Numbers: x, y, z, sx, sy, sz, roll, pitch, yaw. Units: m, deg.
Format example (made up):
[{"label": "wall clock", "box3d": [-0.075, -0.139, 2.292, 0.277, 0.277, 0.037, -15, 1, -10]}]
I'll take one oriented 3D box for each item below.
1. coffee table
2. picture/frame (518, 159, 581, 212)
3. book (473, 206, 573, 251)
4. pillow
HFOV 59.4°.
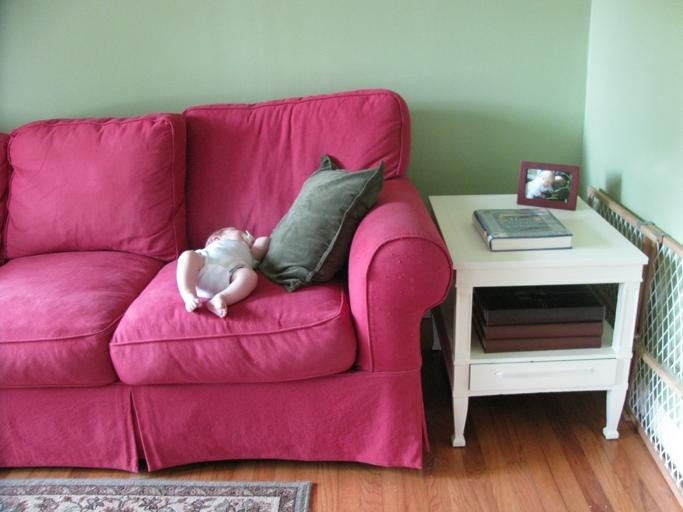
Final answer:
[{"label": "coffee table", "box3d": [0.693, 0.178, 2.515, 0.618, 0.784, 0.899, -1, 29, 1]}, {"label": "picture/frame", "box3d": [0.831, -0.276, 2.406, 0.215, 0.210, 0.022, 6, 13, 14]}, {"label": "book", "box3d": [0.671, -0.107, 2.225, 0.322, 0.063, 0.267, -1, 28, 1]}, {"label": "pillow", "box3d": [-0.021, -0.108, 2.249, 0.146, 0.507, 0.444, 28, -13, -36]}]
